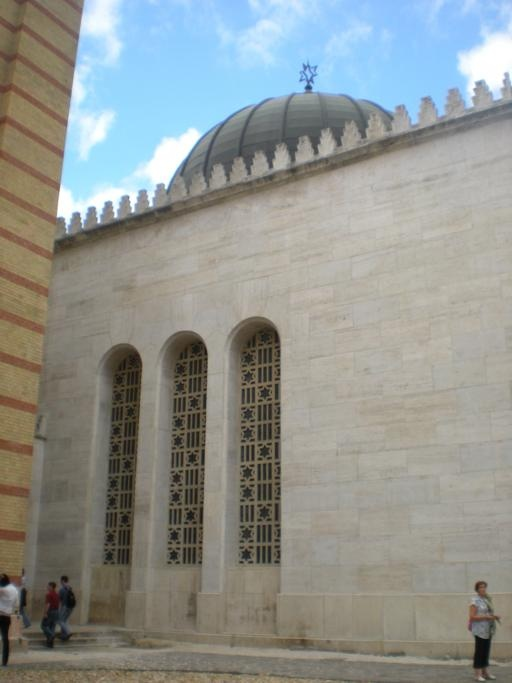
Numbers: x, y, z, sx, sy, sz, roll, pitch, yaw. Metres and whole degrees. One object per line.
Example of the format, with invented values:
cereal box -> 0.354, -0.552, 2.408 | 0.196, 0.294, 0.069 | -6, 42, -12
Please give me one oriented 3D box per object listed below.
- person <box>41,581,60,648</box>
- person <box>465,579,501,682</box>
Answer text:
person -> -3.800, 5.056, 14.451 | 0.299, 1.122, 1.088 | 4, -17, -14
person -> 2.999, 3.825, 10.311 | 0.363, 1.236, 0.632 | -5, -17, 14
